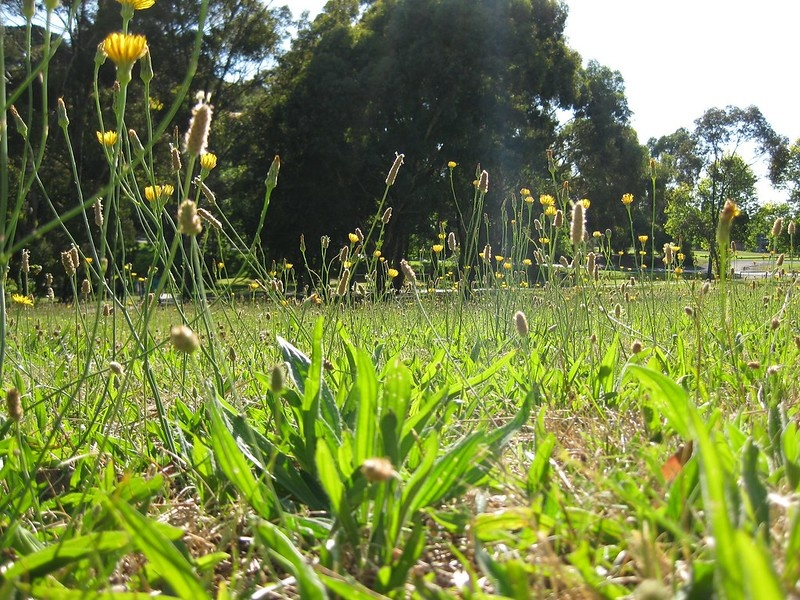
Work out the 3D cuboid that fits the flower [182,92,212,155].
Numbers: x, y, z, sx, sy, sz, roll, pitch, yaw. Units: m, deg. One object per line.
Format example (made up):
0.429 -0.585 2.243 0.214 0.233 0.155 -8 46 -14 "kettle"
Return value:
-0.456 -0.411 1.658 0.044 0.151 0.049 -2 3 18 "flower"
